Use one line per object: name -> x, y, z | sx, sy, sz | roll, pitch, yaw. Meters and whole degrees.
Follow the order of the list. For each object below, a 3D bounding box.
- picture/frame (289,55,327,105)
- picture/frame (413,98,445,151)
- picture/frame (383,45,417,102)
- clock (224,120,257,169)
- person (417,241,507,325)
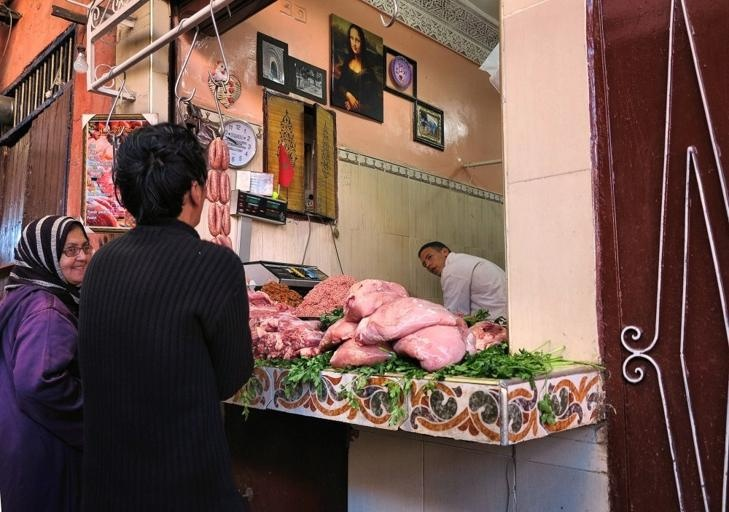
picture/frame -> -0.622, -1.876, 6.287 | 0.020, 0.444, 0.591 | -9, -12, 34
picture/frame -> 0.832, -1.698, 7.641 | 0.064, 0.579, 0.648 | -10, -13, 35
picture/frame -> 0.473, -2.305, 7.348 | 0.519, 0.486, 0.057 | 4, -12, -37
clock -> -1.227, -1.074, 5.627 | 0.436, 0.458, 0.078 | 11, 8, 6
person -> 0.954, 0.206, 5.420 | 0.437, 0.746, 0.958 | 7, -8, -29
